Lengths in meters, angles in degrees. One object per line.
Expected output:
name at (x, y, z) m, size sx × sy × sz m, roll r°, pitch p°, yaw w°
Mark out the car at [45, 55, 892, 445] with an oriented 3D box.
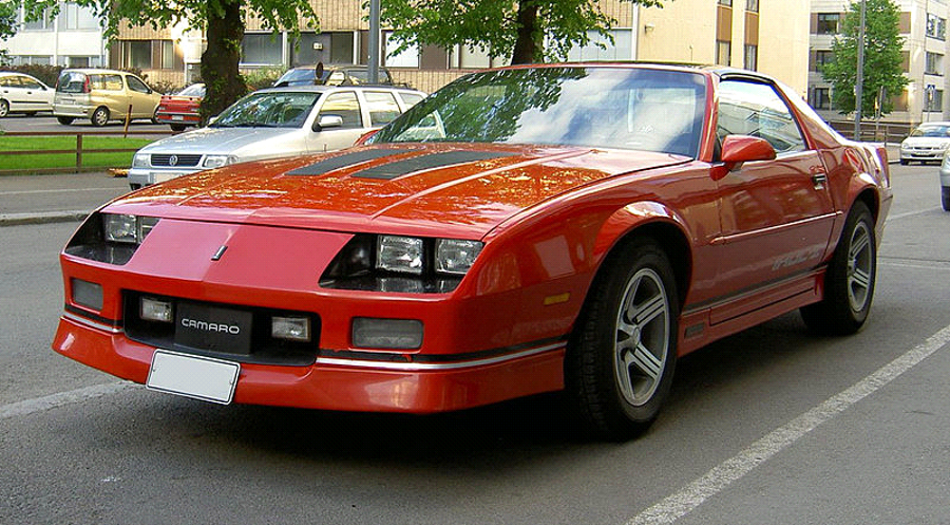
car at (0.307, -0.248, 4.996) m, size 5.845 × 2.460 × 2.282 m, roll -8°, pitch 16°, yaw -33°
